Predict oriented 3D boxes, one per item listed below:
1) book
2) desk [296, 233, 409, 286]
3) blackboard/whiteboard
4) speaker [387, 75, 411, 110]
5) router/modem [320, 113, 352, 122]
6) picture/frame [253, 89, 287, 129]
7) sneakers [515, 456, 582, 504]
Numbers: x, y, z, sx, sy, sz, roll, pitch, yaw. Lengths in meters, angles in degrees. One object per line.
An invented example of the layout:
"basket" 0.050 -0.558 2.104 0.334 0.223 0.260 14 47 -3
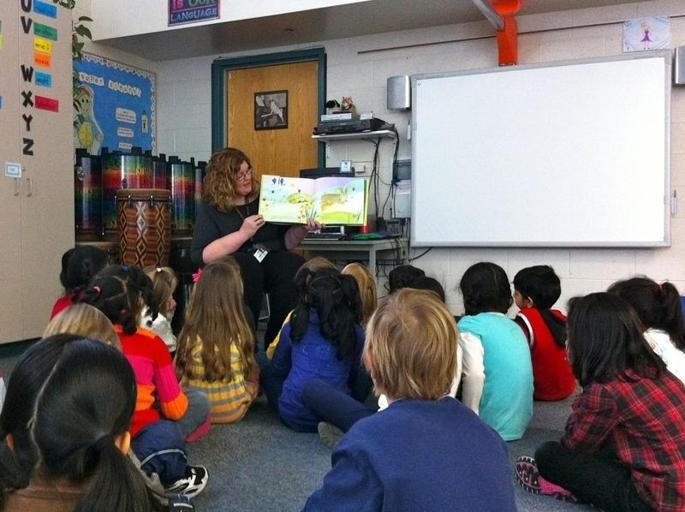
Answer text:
"book" -0.199 -0.349 3.280 0.660 0.386 0.169 1 -6 -11
"desk" 0.125 -0.042 4.362 0.516 0.575 0.579 0 -2 12
"blackboard/whiteboard" 1.754 -0.901 4.292 1.539 1.272 0.061 1 3 22
"speaker" 0.504 -1.505 4.733 0.252 0.288 0.183 2 5 18
"router/modem" -0.064 -1.277 4.695 0.302 0.090 0.064 3 6 18
"picture/frame" -0.753 -1.563 5.401 0.385 0.426 0.027 1 0 25
"sneakers" 0.783 0.863 1.989 0.085 0.128 0.251 4 -7 -35
